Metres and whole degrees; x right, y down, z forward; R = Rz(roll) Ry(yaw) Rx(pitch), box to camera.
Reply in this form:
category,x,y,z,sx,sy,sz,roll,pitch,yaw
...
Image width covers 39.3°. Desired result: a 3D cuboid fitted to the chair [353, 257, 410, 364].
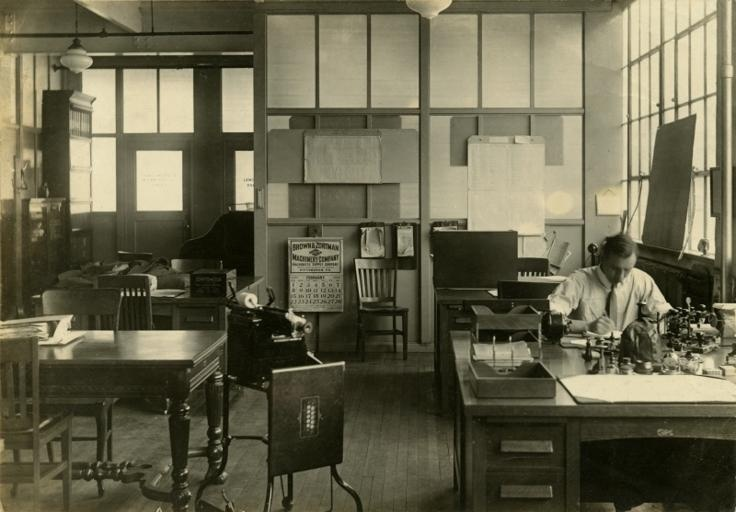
category,x,y,z,sx,sy,sz,roll,pitch,yaw
chair,0.170,0.593,11.927,0.624,1.147,0.632,0,2,-1

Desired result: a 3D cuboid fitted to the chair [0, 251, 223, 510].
category,x,y,z,sx,sy,sz,roll,pitch,yaw
chair,-1.970,1.066,8.337,1.683,1.268,1.344,0,-4,4

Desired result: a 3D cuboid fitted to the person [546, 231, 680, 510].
category,x,y,z,sx,sy,sz,roll,pitch,yaw
person,2.171,0.525,9.115,1.154,1.450,0.766,2,14,1
